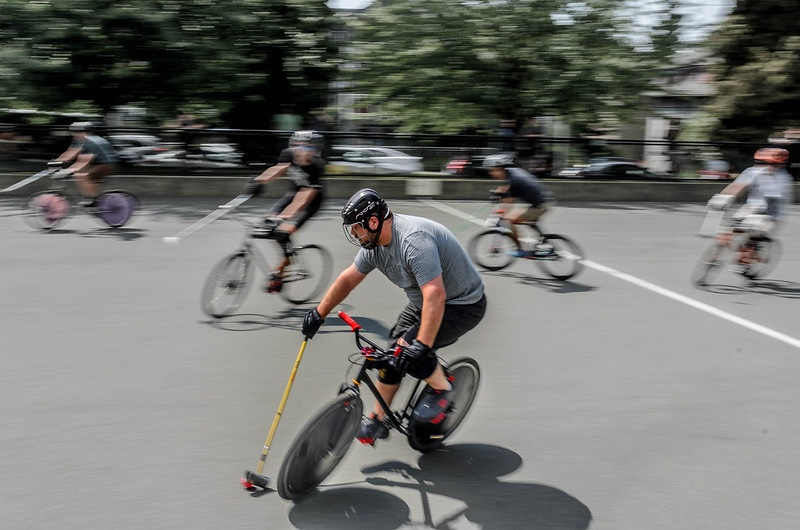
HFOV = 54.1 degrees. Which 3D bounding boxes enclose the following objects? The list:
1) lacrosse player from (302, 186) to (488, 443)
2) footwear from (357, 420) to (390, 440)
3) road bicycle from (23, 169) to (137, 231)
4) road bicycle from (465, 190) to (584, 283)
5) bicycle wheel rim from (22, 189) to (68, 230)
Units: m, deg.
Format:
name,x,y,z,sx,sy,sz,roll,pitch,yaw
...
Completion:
name,x,y,z,sx,sy,sz,roll,pitch,yaw
lacrosse player,-0.088,0.535,7.488,2.371,2.159,1.381,1,-3,6
footwear,-0.262,1.529,7.228,0.338,0.163,0.146,-1,5,-14
road bicycle,-6.326,-1.212,15.566,2.493,1.083,1.085,1,-6,-8
road bicycle,2.098,-0.467,13.285,2.326,1.186,1.050,7,21,26
bicycle wheel rim,-6.802,-1.053,15.036,0.973,0.688,0.216,5,-10,1
